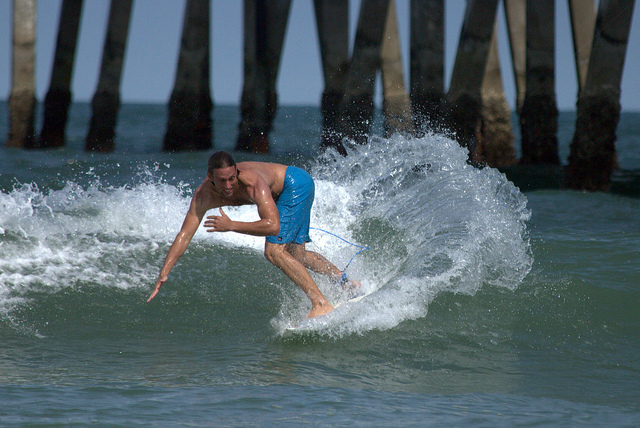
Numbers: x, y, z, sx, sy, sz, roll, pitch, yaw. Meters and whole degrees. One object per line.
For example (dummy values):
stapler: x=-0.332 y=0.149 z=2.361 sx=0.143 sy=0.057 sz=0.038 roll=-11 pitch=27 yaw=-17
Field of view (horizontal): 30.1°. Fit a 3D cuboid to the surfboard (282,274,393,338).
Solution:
surfboard: x=0.204 y=1.158 z=14.742 sx=1.190 sy=0.172 sz=0.162 roll=-29 pitch=64 yaw=-17
